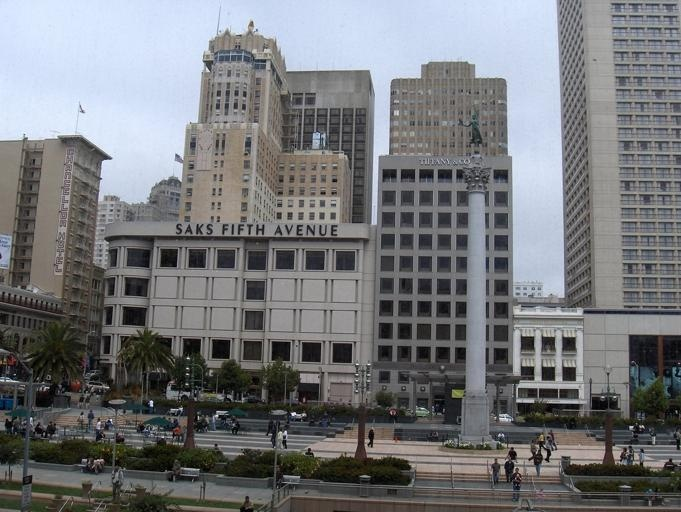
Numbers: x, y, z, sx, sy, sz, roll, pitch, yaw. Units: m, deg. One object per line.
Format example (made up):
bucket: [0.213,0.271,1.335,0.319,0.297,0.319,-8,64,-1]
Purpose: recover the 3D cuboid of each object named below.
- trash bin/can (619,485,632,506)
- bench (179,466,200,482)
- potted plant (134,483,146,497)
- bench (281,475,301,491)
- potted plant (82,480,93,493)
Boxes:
trash bin/can: [24.916,20.902,81.409,1.258,1.982,1.327,0,-14,1]
bench: [-13.669,19.849,84.646,1.908,1.139,0.835,1,-11,1]
potted plant: [-16.717,19.486,77.358,1.160,1.343,1.052,2,-8,-22]
bench: [-4.325,20.108,82.790,1.233,1.105,1.117,0,-18,0]
potted plant: [-21.180,19.230,77.773,0.963,0.871,0.941,1,-12,-13]
